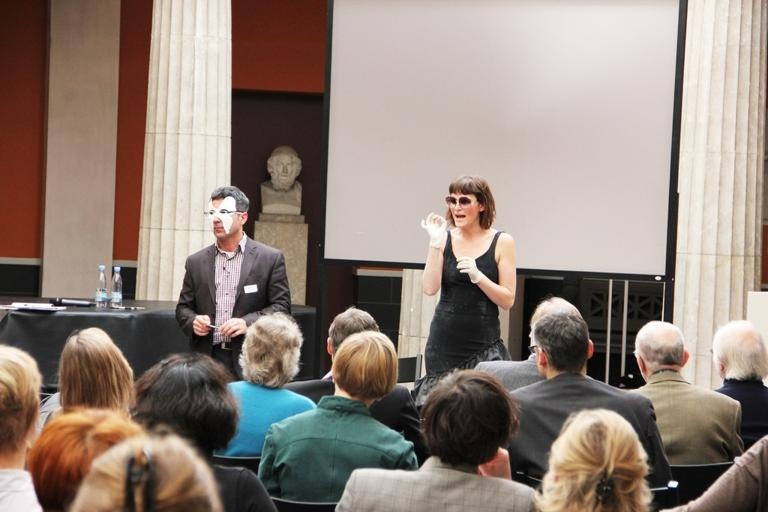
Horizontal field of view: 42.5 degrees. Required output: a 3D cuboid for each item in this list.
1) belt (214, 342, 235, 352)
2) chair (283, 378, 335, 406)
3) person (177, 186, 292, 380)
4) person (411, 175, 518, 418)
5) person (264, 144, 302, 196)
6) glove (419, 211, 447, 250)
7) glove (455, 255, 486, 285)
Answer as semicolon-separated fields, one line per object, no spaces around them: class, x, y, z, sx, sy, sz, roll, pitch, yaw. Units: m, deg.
belt;-1.136;0.665;7.068;0.147;0.062;0.021;0;-2;17
chair;-0.447;0.858;6.057;0.303;0.150;0.235;1;-2;-12
person;-1.084;0.194;7.176;0.814;1.416;0.317;1;-2;-8
person;0.565;0.268;6.842;0.694;1.635;0.399;1;-2;6
person;-1.327;-1.148;13.235;0.590;0.783;0.520;0;0;-10
glove;0.397;-0.168;7.043;0.197;0.255;0.101;-1;-19;31
glove;0.604;0.111;6.746;0.185;0.186;0.112;1;-2;1
